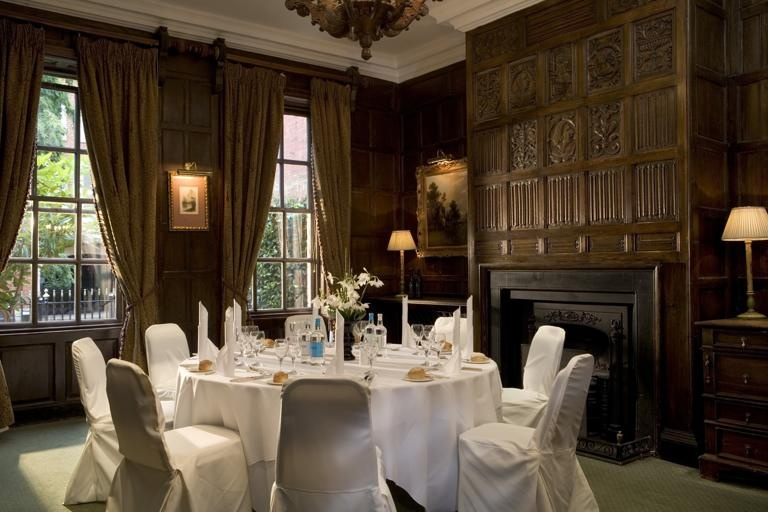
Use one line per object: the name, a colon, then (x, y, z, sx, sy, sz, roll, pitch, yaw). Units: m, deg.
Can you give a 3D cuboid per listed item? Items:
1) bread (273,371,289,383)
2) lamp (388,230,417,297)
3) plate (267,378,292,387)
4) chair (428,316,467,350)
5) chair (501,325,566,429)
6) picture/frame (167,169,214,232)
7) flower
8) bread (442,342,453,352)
bread: (-0.749, 0.869, 3.973, 0.077, 0.055, 0.081, 2, -7, -15)
lamp: (0.259, 0.100, 7.981, 0.425, 0.936, 0.589, 0, -3, 0)
plate: (-0.724, 0.874, 3.804, 0.134, 0.021, 0.138, 0, -1, 27)
chair: (0.647, 0.736, 5.263, 0.274, 0.409, 0.316, -5, -14, 29)
chair: (1.254, 1.165, 4.945, 0.669, 1.078, 0.628, 2, -4, 2)
picture/frame: (-2.437, -0.690, 6.842, 0.713, 1.092, 0.108, 2, -4, -34)
flower: (-0.250, 0.387, 4.687, 0.592, 0.418, 0.649, -1, -11, -26)
bread: (0.564, 0.815, 4.904, 0.097, 0.035, 0.101, 1, 1, 0)
